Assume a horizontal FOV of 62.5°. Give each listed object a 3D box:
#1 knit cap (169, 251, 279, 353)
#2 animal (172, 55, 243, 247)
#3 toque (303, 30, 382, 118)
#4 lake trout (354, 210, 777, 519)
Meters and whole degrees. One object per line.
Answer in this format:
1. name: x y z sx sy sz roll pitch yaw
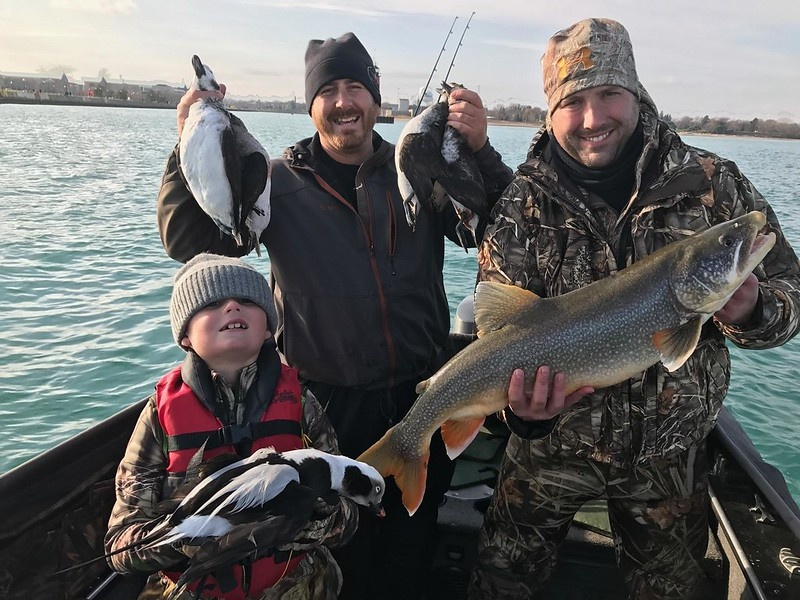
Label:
1. knit cap: -1.167 -0.076 4.374 0.569 0.642 0.524 -7 15 -28
2. animal: -1.336 -0.895 4.665 0.407 0.976 0.504 -5 22 -22
3. toque: -0.450 -2.009 5.772 0.671 0.625 0.621 4 -9 -14
4. lake trout: 1.002 0.281 4.336 3.159 1.161 0.733 -27 23 -1
